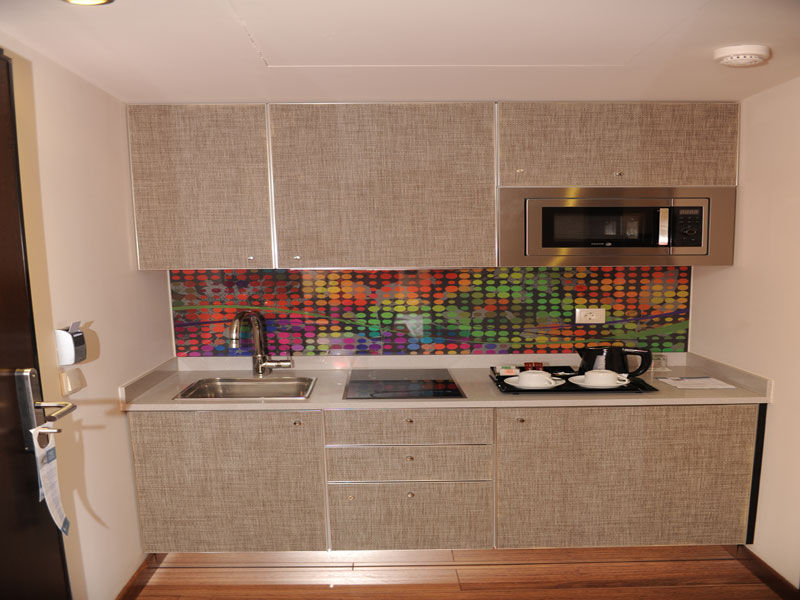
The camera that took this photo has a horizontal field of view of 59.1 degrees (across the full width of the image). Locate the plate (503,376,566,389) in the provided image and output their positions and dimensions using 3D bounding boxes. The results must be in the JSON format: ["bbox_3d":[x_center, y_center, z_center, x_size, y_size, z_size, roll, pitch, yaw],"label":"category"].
[{"bbox_3d":[0.703,0.441,3.714,0.312,0.042,0.141,0,5,7],"label":"plate"}]

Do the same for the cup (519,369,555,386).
[{"bbox_3d":[0.723,0.411,3.685,0.097,0.038,0.133,-2,4,-41],"label":"cup"}]

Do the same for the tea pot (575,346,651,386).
[{"bbox_3d":[1.114,0.360,3.775,0.390,0.167,0.228,0,0,28],"label":"tea pot"}]

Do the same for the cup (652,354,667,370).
[{"bbox_3d":[1.504,0.355,4.032,0.124,0.091,0.056,-5,8,-34],"label":"cup"}]

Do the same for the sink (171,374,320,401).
[{"bbox_3d":[-0.816,0.504,3.802,0.705,0.121,0.410,-1,5,0],"label":"sink"}]

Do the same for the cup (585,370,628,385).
[{"bbox_3d":[1.101,0.408,3.705,0.176,0.043,0.098,0,3,12],"label":"cup"}]

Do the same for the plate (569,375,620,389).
[{"bbox_3d":[1.044,0.431,3.718,0.279,0.068,0.151,-1,5,2],"label":"plate"}]

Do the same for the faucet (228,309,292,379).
[{"bbox_3d":[-0.781,0.249,3.960,0.330,0.374,0.310,-2,7,-7],"label":"faucet"}]
